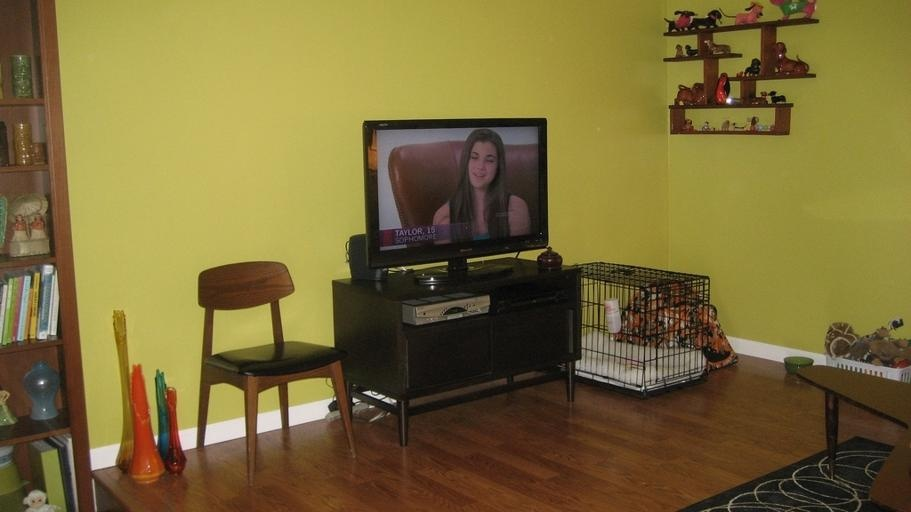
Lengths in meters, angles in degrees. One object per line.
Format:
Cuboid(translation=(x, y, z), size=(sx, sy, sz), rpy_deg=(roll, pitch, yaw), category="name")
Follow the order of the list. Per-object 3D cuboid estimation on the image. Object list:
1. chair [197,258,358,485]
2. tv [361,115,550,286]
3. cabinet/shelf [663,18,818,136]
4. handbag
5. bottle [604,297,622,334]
Cuboid(translation=(-1.241, 0.672, 4.440), size=(0.829, 1.210, 0.741), rpy_deg=(-8, 14, -28), category="chair")
Cuboid(translation=(-0.047, -0.398, 4.790), size=(1.335, 0.842, 0.175), rpy_deg=(-7, 8, -29), category="tv")
Cuboid(translation=(2.362, -1.481, 5.642), size=(1.217, 0.756, 0.223), rpy_deg=(6, 10, 45), category="cabinet/shelf")
Cuboid(translation=(1.741, 0.530, 5.507), size=(0.986, 0.763, 0.470), rpy_deg=(-6, 13, -21), category="handbag")
Cuboid(translation=(1.253, 0.469, 5.461), size=(0.152, 0.288, 0.103), rpy_deg=(-3, 13, -8), category="bottle")
